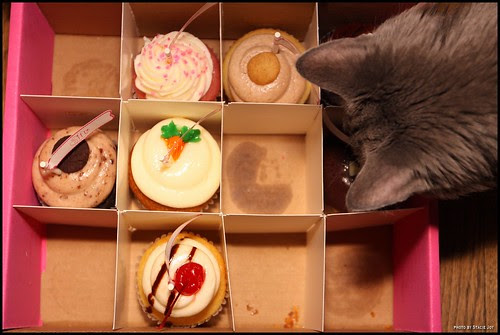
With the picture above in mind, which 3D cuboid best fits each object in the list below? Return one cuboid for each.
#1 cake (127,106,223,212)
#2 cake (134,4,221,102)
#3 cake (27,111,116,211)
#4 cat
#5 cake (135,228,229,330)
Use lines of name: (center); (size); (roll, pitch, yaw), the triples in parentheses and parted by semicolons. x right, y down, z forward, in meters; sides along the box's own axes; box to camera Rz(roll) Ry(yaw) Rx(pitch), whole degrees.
cake: (-0.509, -0.010, 3.009); (0.649, 0.439, 0.593); (-23, 63, -16)
cake: (-0.510, -0.709, 3.066); (0.594, 0.321, 0.488); (-3, 60, -6)
cake: (-1.190, -0.014, 2.897); (0.575, 0.497, 0.546); (2, 59, -3)
cat: (0.935, -0.385, 2.451); (1.092, 0.591, 1.028); (-15, 62, -13)
cake: (-0.466, 0.737, 2.953); (0.614, 0.427, 0.608); (-7, 60, -8)
